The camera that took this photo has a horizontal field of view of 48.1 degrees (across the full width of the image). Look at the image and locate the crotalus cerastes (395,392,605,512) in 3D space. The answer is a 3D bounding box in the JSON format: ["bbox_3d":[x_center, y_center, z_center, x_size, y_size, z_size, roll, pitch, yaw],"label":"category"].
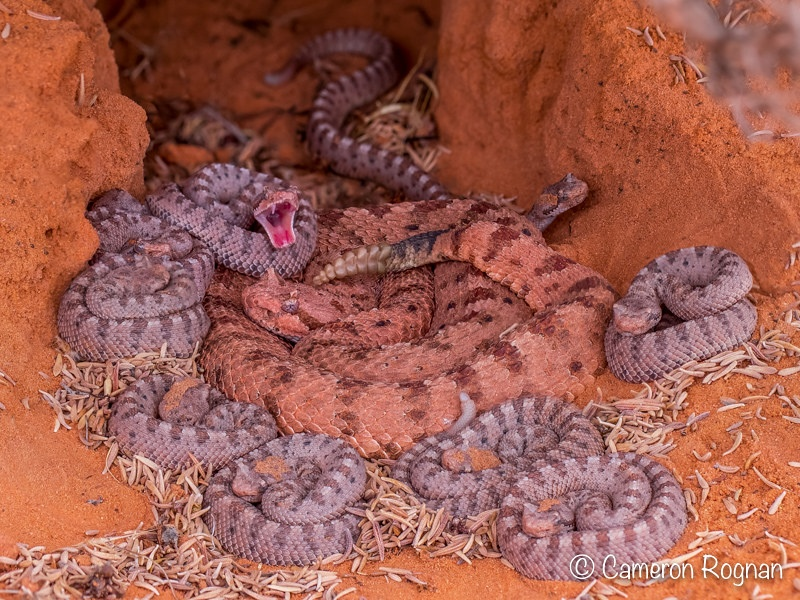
[{"bbox_3d":[0.650,1.004,5.936,1.040,0.244,0.729,-19,32,-25],"label":"crotalus cerastes"}]

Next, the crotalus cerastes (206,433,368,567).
[{"bbox_3d":[-0.746,1.276,5.763,1.022,0.806,0.335,-1,-9,-2],"label":"crotalus cerastes"}]

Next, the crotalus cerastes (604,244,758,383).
[{"bbox_3d":[1.974,0.027,6.304,1.003,0.391,1.278,17,45,42],"label":"crotalus cerastes"}]

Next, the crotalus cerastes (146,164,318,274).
[{"bbox_3d":[-1.358,-0.680,7.398,0.969,0.461,1.135,-16,44,-41],"label":"crotalus cerastes"}]
